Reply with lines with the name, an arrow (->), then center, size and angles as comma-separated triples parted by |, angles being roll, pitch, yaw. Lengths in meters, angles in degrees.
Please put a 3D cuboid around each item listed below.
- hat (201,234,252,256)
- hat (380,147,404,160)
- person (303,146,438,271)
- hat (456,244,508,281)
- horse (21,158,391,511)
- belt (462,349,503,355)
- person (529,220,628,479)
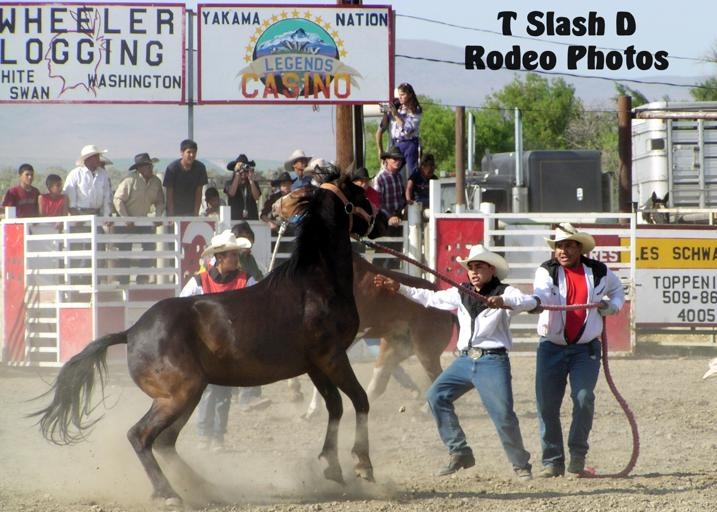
hat -> -1.804, -0.140, 19.461 | 0.393, 0.171, 0.402 | -11, 3, 20
hat -> 0.511, -1.582, 22.546 | 0.433, 0.199, 0.345 | 1, 5, 23
person -> 0.224, -0.586, 20.791 | 0.399, 1.950, 1.040 | -11, -5, 43
hat -> 1.636, 0.093, 18.722 | 0.593, 0.449, 0.804 | -1, 5, 5
horse -> -2.156, 1.248, 19.955 | 4.343, 3.774, 1.077 | -1, -19, -10
belt -> 1.627, 1.250, 18.431 | 0.465, 0.085, 0.057 | -1, 4, 4
person -> 2.816, 1.224, 18.650 | 1.078, 3.230, 0.828 | 0, 4, 10
